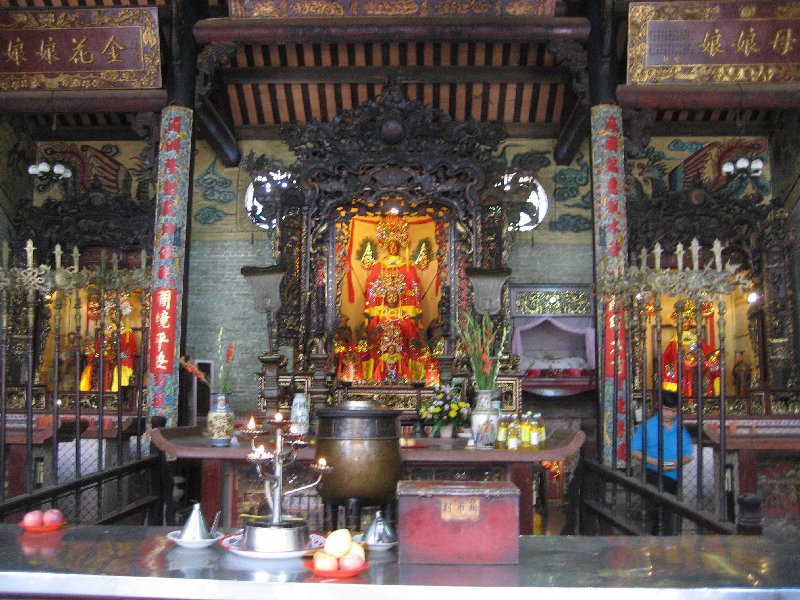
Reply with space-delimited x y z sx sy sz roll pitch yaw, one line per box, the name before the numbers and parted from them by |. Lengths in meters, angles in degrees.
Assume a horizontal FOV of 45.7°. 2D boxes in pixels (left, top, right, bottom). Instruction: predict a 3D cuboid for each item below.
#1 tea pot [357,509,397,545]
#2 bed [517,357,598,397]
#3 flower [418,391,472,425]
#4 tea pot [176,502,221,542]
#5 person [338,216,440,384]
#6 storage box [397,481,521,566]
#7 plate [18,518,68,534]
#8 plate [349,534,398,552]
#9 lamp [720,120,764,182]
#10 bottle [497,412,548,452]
tea pot | -0.100 1.077 4.495 0.152 0.127 0.147 0 -10 0
bed | 1.686 0.826 10.171 0.749 0.370 0.311 0 5 5
flower | 0.361 0.859 7.551 0.315 0.270 0.304 1 -4 -5
tea pot | -0.950 1.060 4.497 0.187 0.151 0.155 6 -16 -20
person | -0.123 -0.036 9.875 1.031 1.676 0.685 0 5 3
storage box | 0.268 1.011 4.476 0.417 0.244 0.404 0 -5 2
plate | -1.758 1.095 4.620 0.228 0.047 0.120 0 5 1
plate | -0.127 1.136 4.447 0.212 0.069 0.107 1 5 18
lamp | 3.800 -1.572 10.529 0.461 0.485 0.832 1 5 20
bottle | 0.836 0.901 6.507 0.260 0.170 0.261 -1 -2 0
